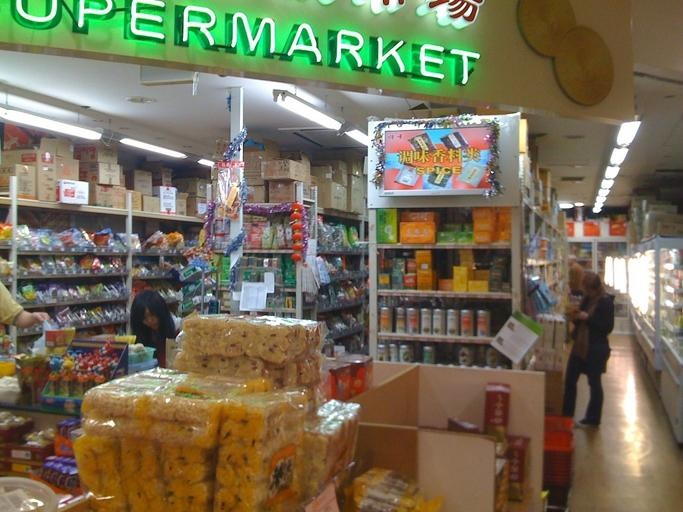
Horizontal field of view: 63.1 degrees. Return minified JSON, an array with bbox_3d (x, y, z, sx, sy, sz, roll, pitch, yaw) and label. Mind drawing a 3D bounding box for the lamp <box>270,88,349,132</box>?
[{"bbox_3d":[-0.376,-1.763,6.566,0.254,0.315,1.266,-1,0,28],"label":"lamp"}]
